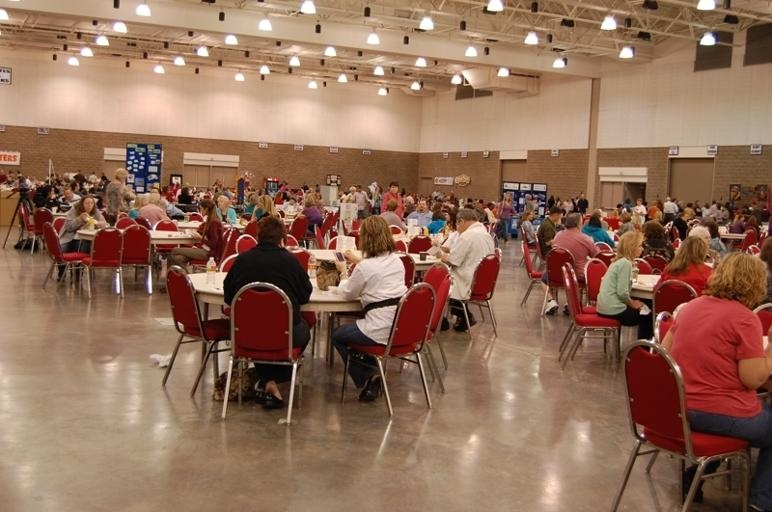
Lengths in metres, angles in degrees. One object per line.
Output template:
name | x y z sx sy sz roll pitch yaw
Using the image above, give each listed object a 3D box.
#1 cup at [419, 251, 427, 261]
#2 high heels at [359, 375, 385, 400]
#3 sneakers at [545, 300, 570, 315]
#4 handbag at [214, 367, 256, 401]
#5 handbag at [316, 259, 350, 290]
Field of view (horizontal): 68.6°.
cup | 0.556 0.004 8.438 0.103 0.084 0.106 0 -2 0
high heels | -0.144 1.307 5.538 0.128 0.171 0.388 -3 -5 27
sneakers | 2.865 0.860 9.566 0.247 0.304 0.646 0 5 5
handbag | -1.409 1.249 5.522 0.285 0.156 0.365 0 1 -2
handbag | -0.545 0.203 5.846 0.325 0.320 0.249 4 -4 -1
